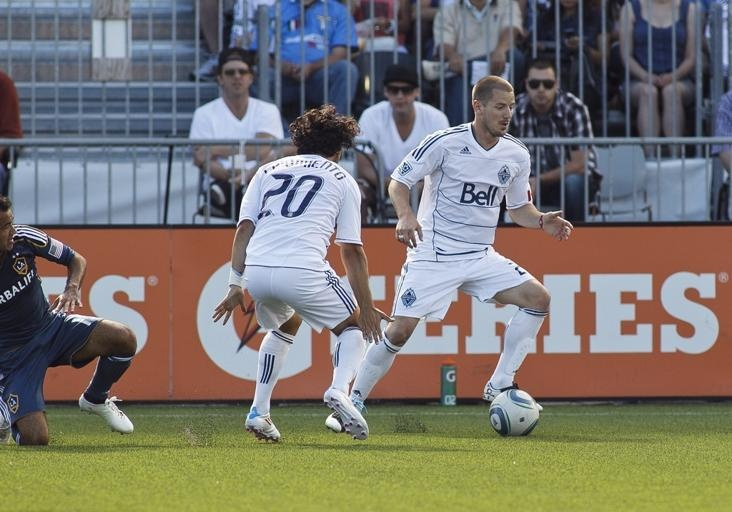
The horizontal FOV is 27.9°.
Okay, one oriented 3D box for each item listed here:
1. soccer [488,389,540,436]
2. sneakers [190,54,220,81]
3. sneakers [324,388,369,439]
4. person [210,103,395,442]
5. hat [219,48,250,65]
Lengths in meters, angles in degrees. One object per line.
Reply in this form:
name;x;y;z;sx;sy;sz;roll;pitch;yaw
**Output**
soccer;1.177;1.242;11.724;0.348;0.375;0.357;6;-39;13
sneakers;-1.651;-1.912;15.014;0.319;0.112;0.150;-33;-9;-5
sneakers;-0.156;1.224;11.473;0.130;0.375;0.203;-39;3;-4
person;-0.446;0.103;11.424;1.208;2.533;0.511;1;4;1
hat;-1.290;-1.972;14.634;0.346;0.179;0.207;1;4;-14
